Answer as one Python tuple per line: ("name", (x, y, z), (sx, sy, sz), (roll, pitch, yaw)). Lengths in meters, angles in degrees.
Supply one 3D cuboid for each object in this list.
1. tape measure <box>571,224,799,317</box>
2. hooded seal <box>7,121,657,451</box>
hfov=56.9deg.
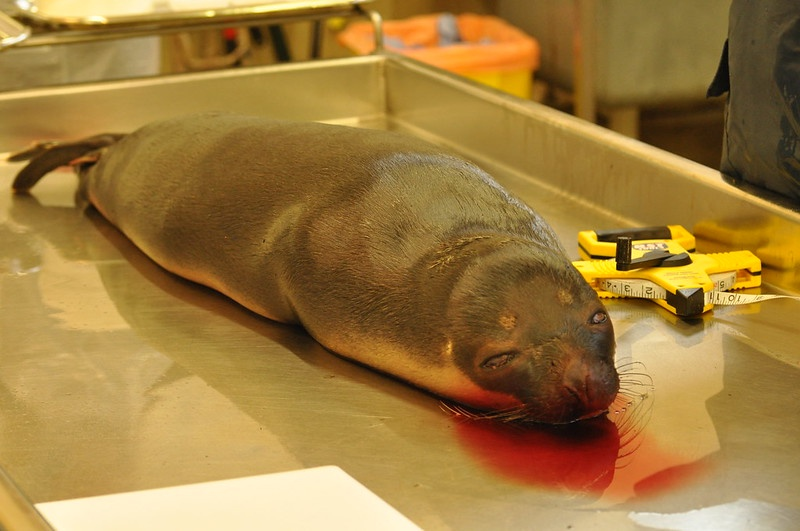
("tape measure", (0.424, 0.020, 1.152), (0.208, 0.071, 0.211), (-2, 17, -15))
("hooded seal", (-0.174, -0.111, 1.294), (1.289, 0.318, 0.446), (26, 39, 37))
